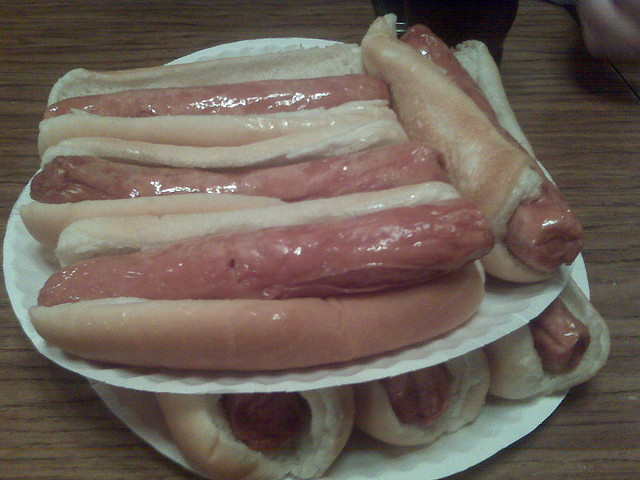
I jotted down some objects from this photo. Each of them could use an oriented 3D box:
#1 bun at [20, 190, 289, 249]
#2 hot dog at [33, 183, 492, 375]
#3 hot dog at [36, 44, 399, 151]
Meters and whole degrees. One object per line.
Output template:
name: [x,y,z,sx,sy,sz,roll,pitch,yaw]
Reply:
bun: [-0.202,-0.017,1.057,0.559,0.092,0.079,-2,79,2]
hot dog: [-0.070,0.053,0.965,0.699,0.163,0.219,-1,45,1]
hot dog: [-0.152,-0.224,1.180,0.607,0.144,0.172,0,84,-5]
